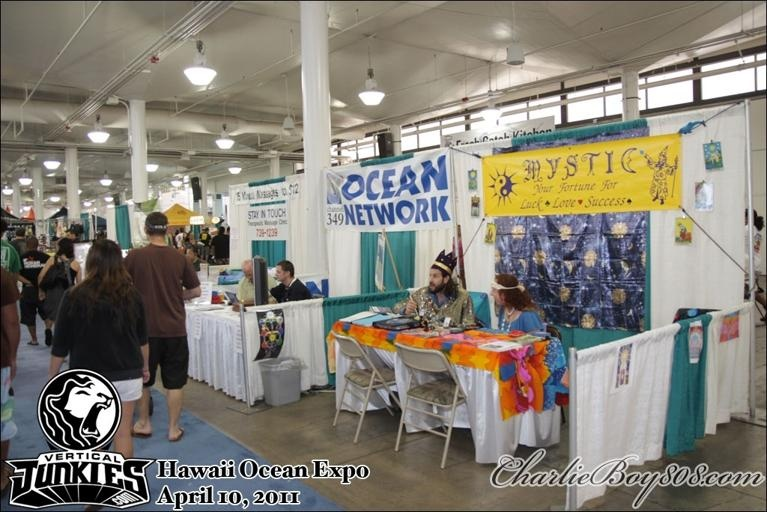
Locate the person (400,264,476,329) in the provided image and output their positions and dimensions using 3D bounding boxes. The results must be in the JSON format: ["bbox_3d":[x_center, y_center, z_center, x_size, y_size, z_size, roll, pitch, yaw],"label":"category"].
[{"bbox_3d":[0.607,0.457,6.272,0.914,0.804,0.529,-1,1,25],"label":"person"}]

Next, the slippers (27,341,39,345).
[{"bbox_3d":[-5.723,1.422,9.350,0.211,0.079,0.090,-2,-3,29],"label":"slippers"}]

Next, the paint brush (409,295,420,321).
[{"bbox_3d":[0.335,0.547,6.283,0.109,0.168,0.057,-7,-21,14],"label":"paint brush"}]

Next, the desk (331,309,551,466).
[{"bbox_3d":[0.597,1.279,5.568,2.051,1.077,0.736,5,13,26],"label":"desk"}]

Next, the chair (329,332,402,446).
[{"bbox_3d":[-0.107,1.304,6.065,0.746,0.951,0.569,-3,4,-26],"label":"chair"}]

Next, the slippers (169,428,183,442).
[{"bbox_3d":[-2.040,1.788,5.698,0.063,0.105,0.185,2,5,8],"label":"slippers"}]

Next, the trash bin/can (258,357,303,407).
[{"bbox_3d":[-1.163,1.402,6.589,0.505,0.473,0.572,-3,-3,39],"label":"trash bin/can"}]

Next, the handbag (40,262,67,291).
[{"bbox_3d":[-4.848,0.320,8.440,0.422,0.418,0.187,7,-10,33],"label":"handbag"}]

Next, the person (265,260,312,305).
[{"bbox_3d":[-1.197,0.363,7.265,0.607,0.604,0.770,0,7,-22],"label":"person"}]

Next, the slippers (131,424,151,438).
[{"bbox_3d":[-2.426,1.758,5.746,0.221,0.187,0.081,0,1,-10],"label":"slippers"}]
